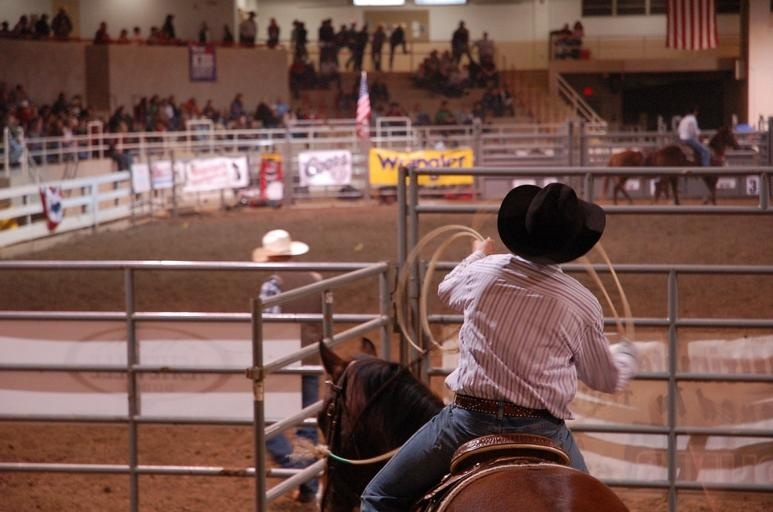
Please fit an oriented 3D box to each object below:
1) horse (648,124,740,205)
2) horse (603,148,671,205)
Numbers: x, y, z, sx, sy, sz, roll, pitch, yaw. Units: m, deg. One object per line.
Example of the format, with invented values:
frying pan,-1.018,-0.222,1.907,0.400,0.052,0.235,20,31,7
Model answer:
horse,8.349,-2.613,40.464,3.265,2.298,0.840,-2,4,-24
horse,7.148,-2.402,40.462,2.516,1.671,0.601,2,0,29
